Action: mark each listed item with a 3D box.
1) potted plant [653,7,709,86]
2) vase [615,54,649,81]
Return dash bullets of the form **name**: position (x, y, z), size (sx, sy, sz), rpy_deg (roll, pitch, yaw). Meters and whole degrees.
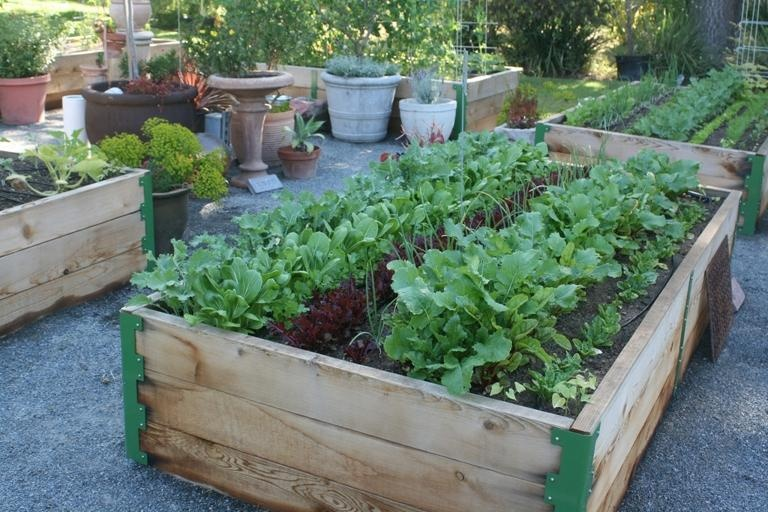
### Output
- **potted plant**: position (5.407, -3.959, 10.504), size (1.008, 1.182, 2.476), rpy_deg (10, 25, 22)
- **vase**: position (4.390, -3.290, 10.235), size (0.538, 0.454, 0.895), rpy_deg (9, 25, 21)
